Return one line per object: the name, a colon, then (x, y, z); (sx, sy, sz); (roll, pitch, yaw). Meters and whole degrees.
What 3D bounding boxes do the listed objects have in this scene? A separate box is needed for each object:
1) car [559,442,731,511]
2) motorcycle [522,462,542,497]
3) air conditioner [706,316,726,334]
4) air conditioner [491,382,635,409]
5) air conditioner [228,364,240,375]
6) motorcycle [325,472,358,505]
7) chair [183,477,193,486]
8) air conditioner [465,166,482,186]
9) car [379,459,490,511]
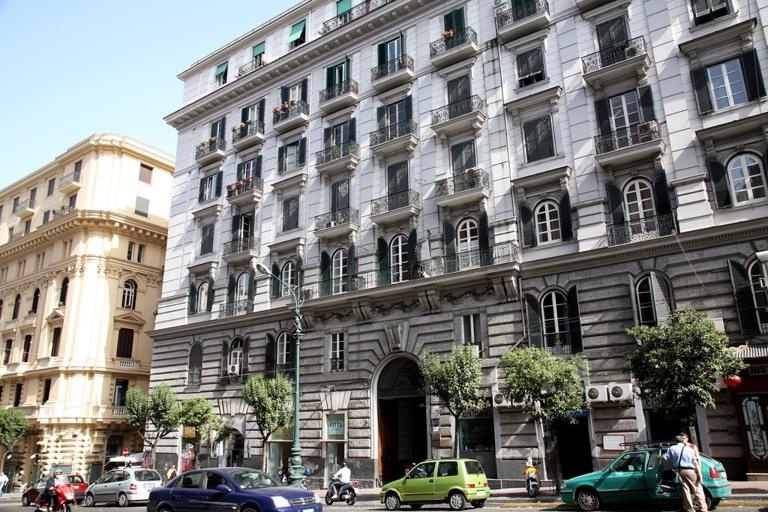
car: (11.451, 9.751, 28.501); (6.301, 2.470, 3.194); (-11, -32, 26)
motorcycle: (7.489, 11.147, 32.387); (0.610, 1.839, 1.087); (-6, -23, 8)
air conditioner: (17.183, 3.449, 32.886); (0.540, 0.744, 0.202); (-2, -23, -1)
air conditioner: (9.817, 7.569, 35.549); (7.805, 1.806, 0.513); (-10, -24, 19)
air conditioner: (-10.723, 8.133, 46.178); (0.807, 0.646, 0.267); (-2, -17, 9)
motorcycle: (-2.280, 12.394, 34.272); (1.467, 1.534, 0.573); (-8, -24, 13)
chair: (-8.282, 9.532, 27.155); (0.375, 0.447, 0.383); (2, -28, -6)
air conditioner: (5.586, -4.888, 39.915); (1.122, 1.062, 1.151); (2, 9, -24)
car: (2.475, 11.029, 31.596); (4.777, 2.039, 2.523); (-7, -34, 19)
